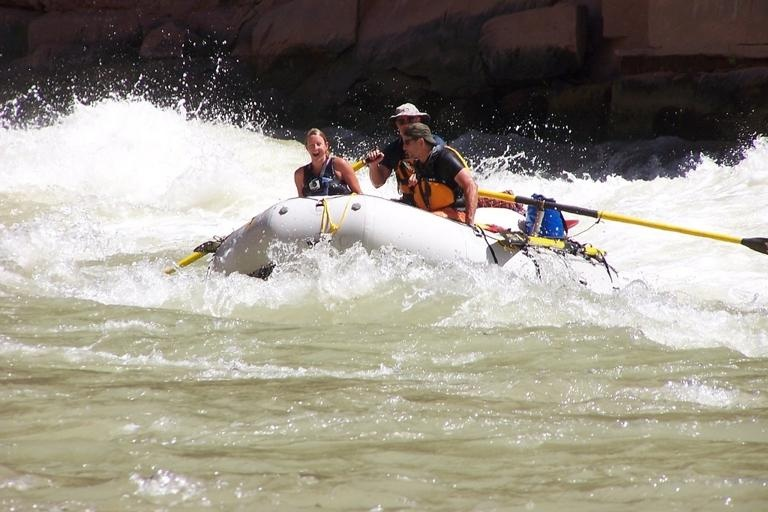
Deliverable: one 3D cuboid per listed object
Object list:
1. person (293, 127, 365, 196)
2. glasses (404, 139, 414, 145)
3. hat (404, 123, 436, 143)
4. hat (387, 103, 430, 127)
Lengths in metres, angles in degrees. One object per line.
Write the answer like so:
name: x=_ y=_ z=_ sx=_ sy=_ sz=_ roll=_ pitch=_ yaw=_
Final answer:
person: x=-0.686 y=-1.122 z=13.567 sx=0.814 sy=0.807 sz=0.429 roll=2 pitch=8 yaw=1
glasses: x=0.290 y=-1.371 z=13.337 sx=0.080 sy=0.053 sz=0.076 roll=-7 pitch=19 yaw=-22
hat: x=0.446 y=-1.453 z=13.304 sx=0.337 sy=0.225 sz=0.228 roll=-4 pitch=16 yaw=5
hat: x=0.317 y=-1.826 z=13.961 sx=0.404 sy=0.179 sz=0.478 roll=-2 pitch=-1 yaw=5
